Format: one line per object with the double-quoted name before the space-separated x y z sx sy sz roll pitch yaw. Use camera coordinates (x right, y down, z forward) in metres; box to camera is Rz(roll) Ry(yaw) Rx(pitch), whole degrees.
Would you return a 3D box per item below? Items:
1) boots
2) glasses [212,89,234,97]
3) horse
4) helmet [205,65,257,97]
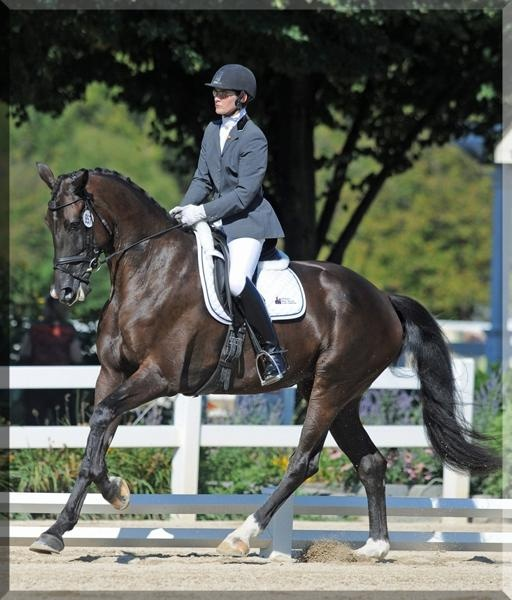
"boots" 0.054 0.202 7.374 0.356 0.630 0.199 1 0 -12
"glasses" -0.207 -1.361 7.548 0.084 0.022 0.078 6 0 -25
"horse" 0.165 0.560 7.819 3.715 2.407 0.855 7 -9 -31
"helmet" -0.150 -1.446 7.553 0.281 0.142 0.193 12 3 -23
